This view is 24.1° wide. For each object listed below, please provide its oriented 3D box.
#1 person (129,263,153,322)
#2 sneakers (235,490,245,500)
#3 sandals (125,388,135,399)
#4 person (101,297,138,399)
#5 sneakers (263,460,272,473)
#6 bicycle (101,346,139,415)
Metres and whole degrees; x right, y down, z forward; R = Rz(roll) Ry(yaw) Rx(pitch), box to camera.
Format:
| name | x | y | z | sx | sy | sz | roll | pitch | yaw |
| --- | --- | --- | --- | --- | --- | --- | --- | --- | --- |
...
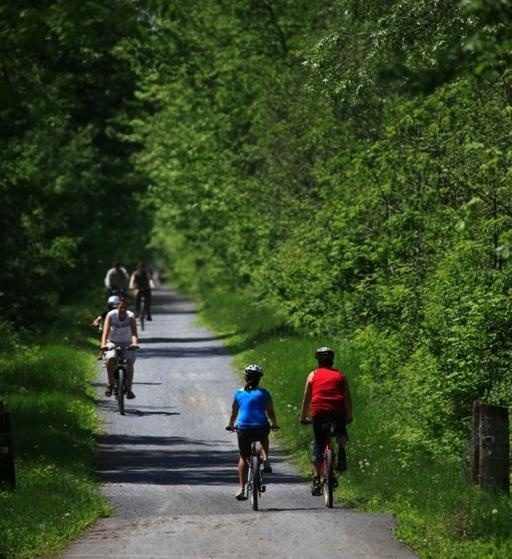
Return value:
| name | x | y | z | sx | sy | sz | roll | pitch | yaw |
| --- | --- | --- | --- | --- | --- | --- | --- | --- | --- |
| person | -3.089 | 0.230 | 32.385 | 0.655 | 1.087 | 1.558 | -1 | -4 | -4 |
| sneakers | -0.172 | 2.358 | 13.127 | 0.112 | 0.132 | 0.178 | 0 | 3 | -3 |
| sandals | -2.056 | 1.875 | 19.586 | 0.163 | 0.206 | 0.106 | -9 | -4 | 34 |
| person | -2.236 | 1.152 | 19.566 | 0.587 | 1.682 | 0.761 | 0 | 4 | -7 |
| sneakers | 0.120 | 2.049 | 13.098 | 0.051 | 0.081 | 0.175 | 0 | 12 | 2 |
| bicycle | -2.261 | 1.550 | 20.028 | 0.560 | 1.109 | 1.559 | -1 | 14 | -8 |
